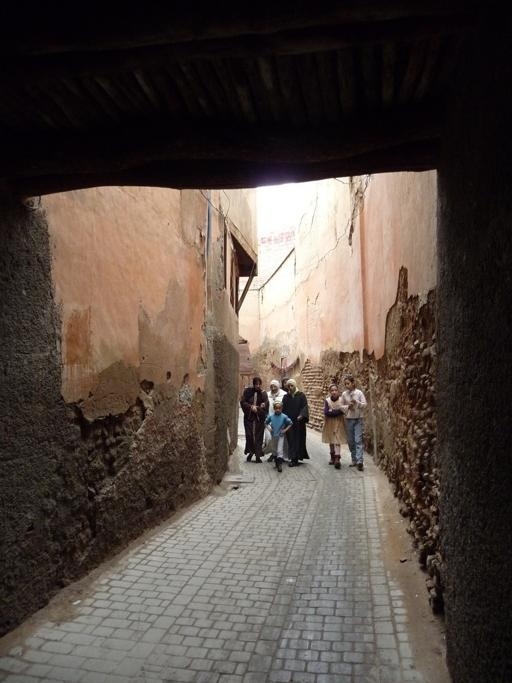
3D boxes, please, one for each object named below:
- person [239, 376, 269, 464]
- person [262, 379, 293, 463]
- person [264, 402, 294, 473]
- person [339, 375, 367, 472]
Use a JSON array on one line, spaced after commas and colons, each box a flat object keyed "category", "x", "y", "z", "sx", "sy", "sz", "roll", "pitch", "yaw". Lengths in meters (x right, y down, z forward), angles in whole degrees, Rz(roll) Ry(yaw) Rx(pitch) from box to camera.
[{"category": "person", "x": -0.034, "y": 1.425, "z": 8.923, "sx": 0.499, "sy": 1.552, "sz": 0.907, "roll": 0, "pitch": -4, "yaw": -1}, {"category": "person", "x": 0.465, "y": 1.380, "z": 9.746, "sx": 0.315, "sy": 1.098, "sz": 0.305, "roll": 8, "pitch": -23, "yaw": -30}, {"category": "person", "x": 0.410, "y": 1.562, "z": 8.208, "sx": 0.440, "sy": 1.088, "sz": 0.768, "roll": 1, "pitch": -4, "yaw": -13}, {"category": "person", "x": 1.559, "y": 1.292, "z": 7.928, "sx": 0.401, "sy": 1.462, "sz": 0.416, "roll": -2, "pitch": -4, "yaw": 27}]
